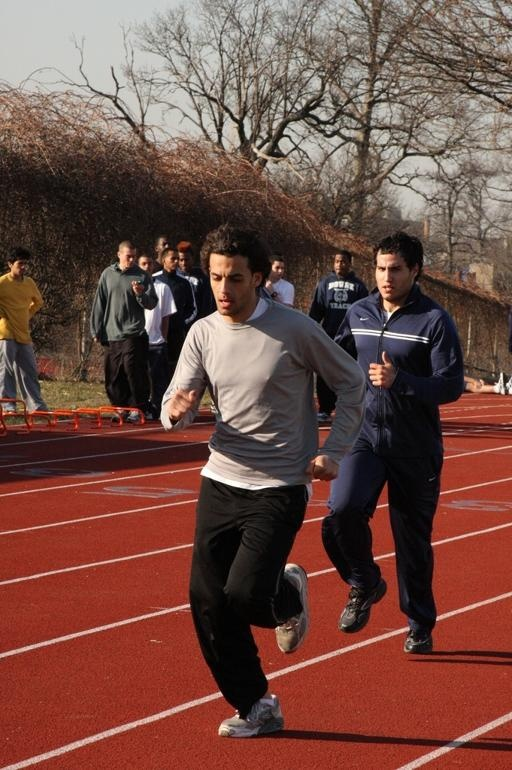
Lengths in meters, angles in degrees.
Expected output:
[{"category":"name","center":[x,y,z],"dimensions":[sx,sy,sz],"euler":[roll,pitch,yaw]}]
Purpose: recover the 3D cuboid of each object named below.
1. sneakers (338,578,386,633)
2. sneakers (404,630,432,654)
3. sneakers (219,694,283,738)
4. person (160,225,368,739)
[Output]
[{"category":"sneakers","center":[0.518,1.067,3.291],"dimensions":[0.104,0.306,0.220],"euler":[37,1,30]},{"category":"sneakers","center":[0.729,1.145,3.066],"dimensions":[0.131,0.101,0.094],"euler":[0,-1,5]},{"category":"sneakers","center":[0.002,1.038,2.193],"dimensions":[0.239,0.148,0.087],"euler":[3,-3,-15]},{"category":"person","center":[0.047,0.303,2.263],"dimensions":[0.588,1.616,0.512],"euler":[1,-1,-26]}]
